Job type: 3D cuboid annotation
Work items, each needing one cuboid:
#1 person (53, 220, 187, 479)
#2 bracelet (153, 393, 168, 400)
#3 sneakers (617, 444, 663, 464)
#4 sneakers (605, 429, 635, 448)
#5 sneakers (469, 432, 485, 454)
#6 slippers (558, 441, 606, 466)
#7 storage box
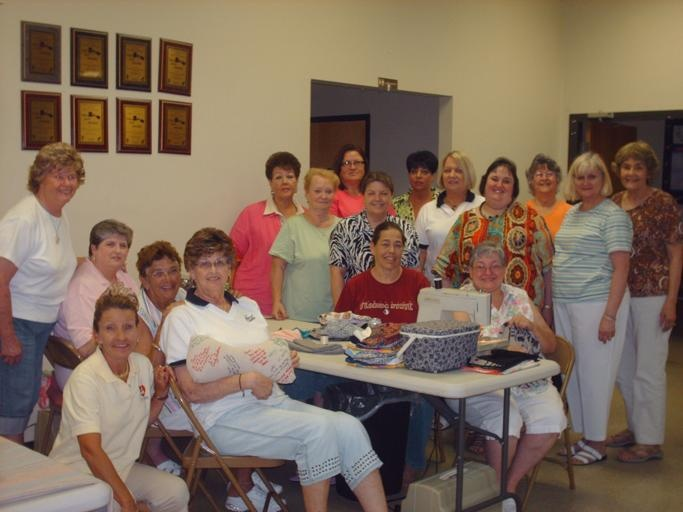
[{"bbox_3d":[-1.179,0.407,3.213,0.649,1.186,0.472,-5,6,3],"label":"person"},{"bbox_3d":[-0.811,0.633,2.669,0.045,0.019,0.035,3,6,23],"label":"bracelet"},{"bbox_3d":[1.997,1.301,3.970,0.284,0.138,0.127,1,3,1],"label":"sneakers"},{"bbox_3d":[1.959,1.275,4.142,0.187,0.085,0.092,1,2,-10],"label":"sneakers"},{"bbox_3d":[0.914,1.272,4.004,0.125,0.055,0.177,2,4,25],"label":"sneakers"},{"bbox_3d":[1.595,1.303,3.913,0.322,0.111,0.238,-2,5,-25],"label":"slippers"},{"bbox_3d":[0.467,0.392,2.674,0.206,0.163,0.281,-1,0,41],"label":"storage box"}]
